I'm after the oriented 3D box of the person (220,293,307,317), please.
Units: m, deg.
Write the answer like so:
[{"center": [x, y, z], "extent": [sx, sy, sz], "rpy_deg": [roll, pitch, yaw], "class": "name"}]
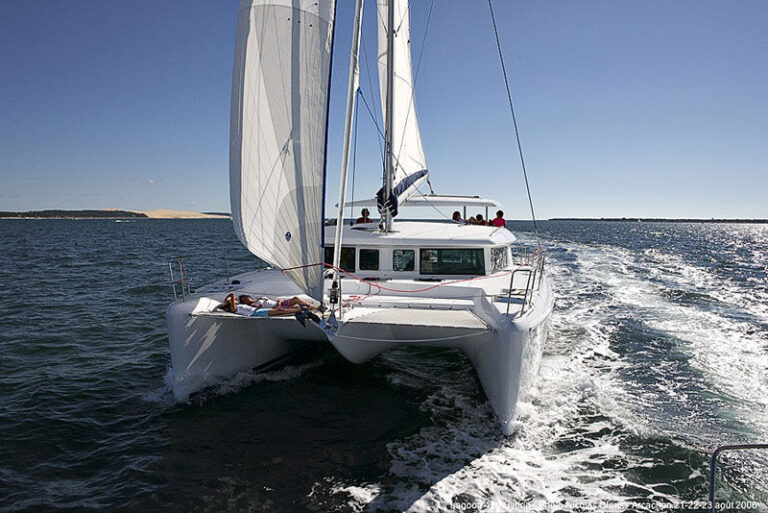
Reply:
[{"center": [-2.152, 0.947, 8.099], "extent": [1.419, 0.380, 0.572], "rpy_deg": [-2, 2, 2], "class": "person"}]
